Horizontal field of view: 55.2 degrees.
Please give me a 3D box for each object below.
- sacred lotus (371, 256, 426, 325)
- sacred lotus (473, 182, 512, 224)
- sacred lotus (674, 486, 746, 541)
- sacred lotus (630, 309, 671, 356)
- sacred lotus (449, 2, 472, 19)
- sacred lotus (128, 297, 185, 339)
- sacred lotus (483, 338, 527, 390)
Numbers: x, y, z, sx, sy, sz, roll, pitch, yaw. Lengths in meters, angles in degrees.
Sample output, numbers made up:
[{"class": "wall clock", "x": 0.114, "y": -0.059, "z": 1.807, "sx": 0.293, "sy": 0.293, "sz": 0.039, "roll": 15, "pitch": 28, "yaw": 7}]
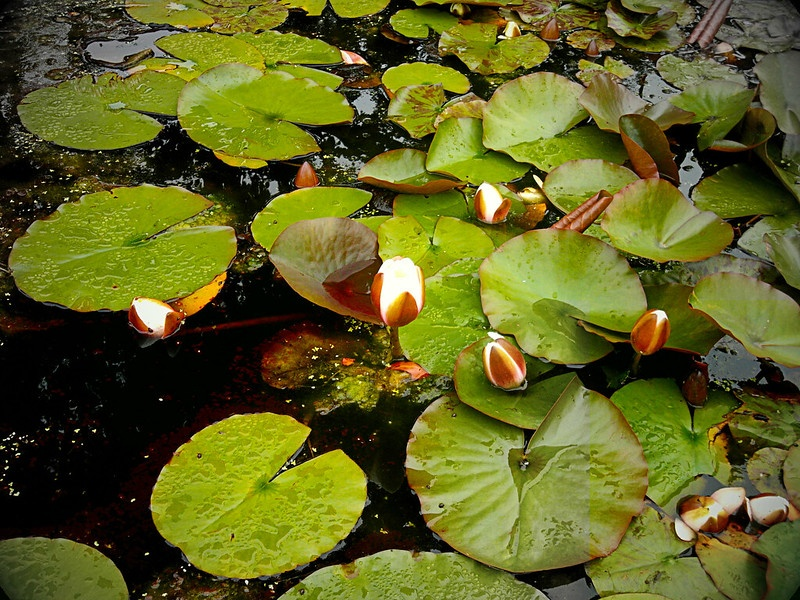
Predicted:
[{"class": "sacred lotus", "x": -0.006, "y": -0.001, "z": 2.251, "sx": 0.165, "sy": 0.183, "sz": 0.170, "roll": 0, "pitch": 26, "yaw": -22}, {"class": "sacred lotus", "x": 0.294, "y": -0.325, "z": 2.588, "sx": 0.127, "sy": 0.134, "sz": 0.097, "roll": -14, "pitch": 10, "yaw": 0}, {"class": "sacred lotus", "x": 0.799, "y": 0.561, "z": 2.017, "sx": 0.192, "sy": 0.065, "sz": 0.108, "roll": -39, "pitch": 72, "yaw": -14}, {"class": "sacred lotus", "x": 0.712, "y": 0.107, "z": 2.180, "sx": 0.117, "sy": 0.143, "sz": 0.099, "roll": 7, "pitch": 42, "yaw": 15}, {"class": "sacred lotus", "x": 0.270, "y": -1.323, "z": 3.478, "sx": 0.089, "sy": 0.049, "sz": 0.074, "roll": 16, "pitch": 48, "yaw": -3}, {"class": "sacred lotus", "x": -0.719, "y": 0.059, "z": 2.272, "sx": 0.157, "sy": 0.119, "sz": 0.087, "roll": 3, "pitch": 53, "yaw": -15}, {"class": "sacred lotus", "x": 0.287, "y": 0.189, "z": 2.130, "sx": 0.112, "sy": 0.146, "sz": 0.090, "roll": -18, "pitch": 26, "yaw": 23}]
